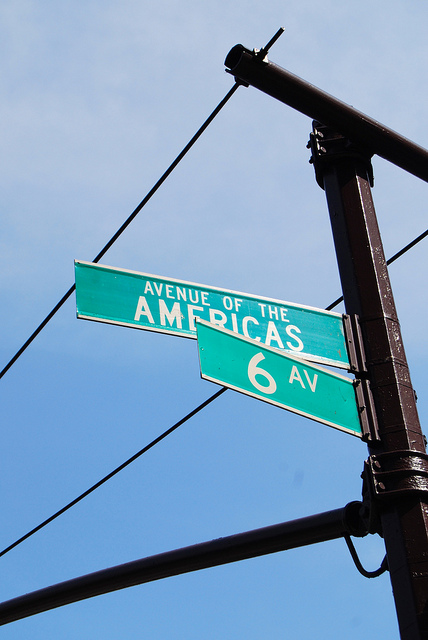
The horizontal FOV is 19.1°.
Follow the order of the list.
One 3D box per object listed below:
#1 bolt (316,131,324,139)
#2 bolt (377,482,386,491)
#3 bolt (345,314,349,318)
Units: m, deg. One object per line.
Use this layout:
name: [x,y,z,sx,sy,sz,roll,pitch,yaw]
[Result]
bolt: [0.580,-1.007,6.968,0.022,0.035,0.009,-7,-2,-15]
bolt: [0.753,0.753,5.747,0.038,0.045,0.009,3,-40,-9]
bolt: [0.663,-0.019,6.368,0.011,0.013,0.003,-1,-12,-8]
